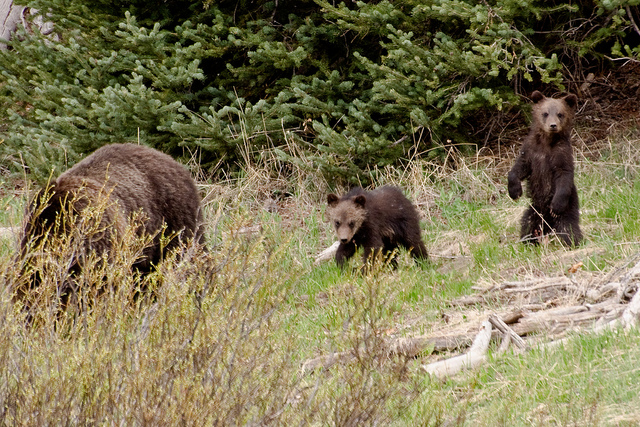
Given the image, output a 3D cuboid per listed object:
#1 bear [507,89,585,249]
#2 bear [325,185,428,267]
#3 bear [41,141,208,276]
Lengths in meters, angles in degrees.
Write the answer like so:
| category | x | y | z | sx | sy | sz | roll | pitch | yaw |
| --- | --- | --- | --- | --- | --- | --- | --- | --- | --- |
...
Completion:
| category | x | y | z | sx | sy | sz | roll | pitch | yaw |
| --- | --- | --- | --- | --- | --- | --- | --- | --- | --- |
| bear | 2.765 | -0.569 | 8.608 | 0.829 | 2.061 | 0.883 | -5 | -1 | 27 |
| bear | 0.723 | 0.228 | 9.532 | 0.626 | 1.114 | 1.847 | 9 | 9 | 32 |
| bear | -2.001 | -0.064 | 7.385 | 0.947 | 1.355 | 1.598 | -6 | -1 | 35 |
